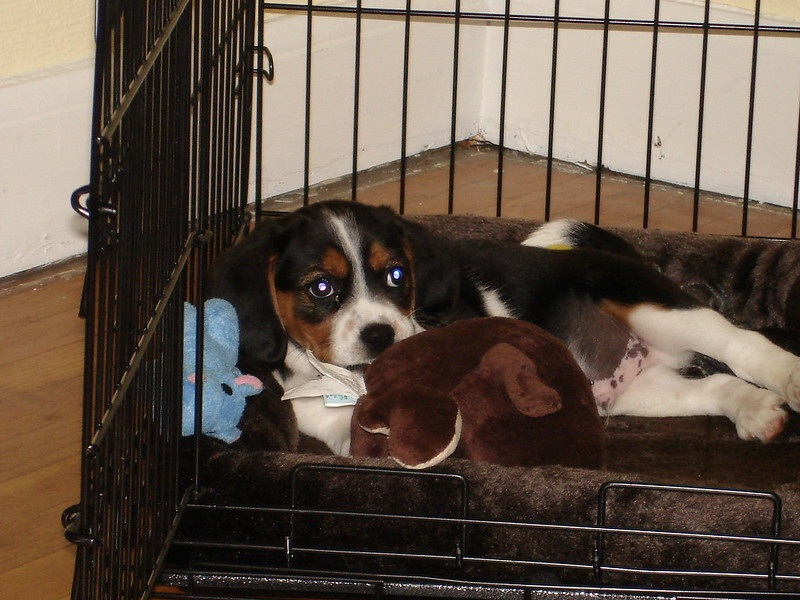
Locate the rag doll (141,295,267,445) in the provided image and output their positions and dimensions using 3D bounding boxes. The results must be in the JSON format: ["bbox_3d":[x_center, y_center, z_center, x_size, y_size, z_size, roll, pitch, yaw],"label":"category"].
[{"bbox_3d":[-0.379,0.187,3.283,0.396,0.400,0.354,0,2,6],"label":"rag doll"}]
